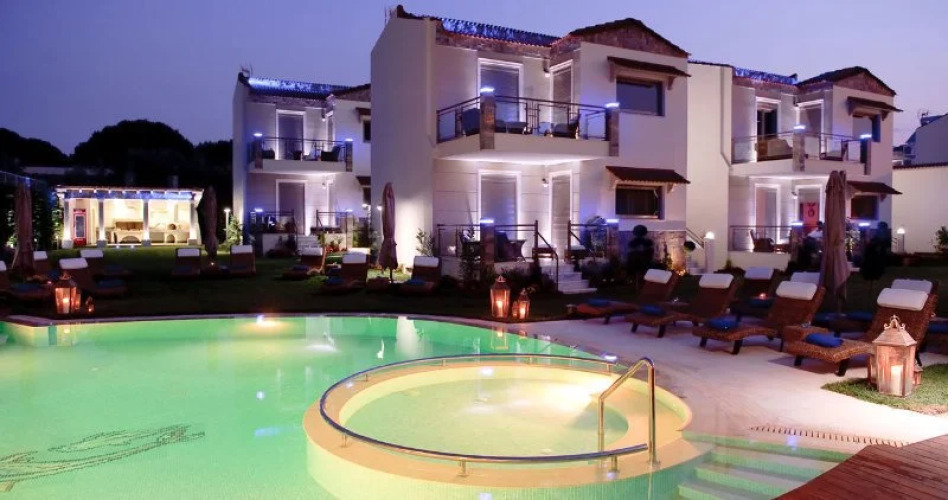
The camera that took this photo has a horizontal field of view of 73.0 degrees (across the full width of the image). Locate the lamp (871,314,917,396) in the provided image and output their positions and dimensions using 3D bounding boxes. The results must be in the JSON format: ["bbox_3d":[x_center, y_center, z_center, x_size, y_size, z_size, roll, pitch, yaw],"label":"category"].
[{"bbox_3d":[12.954,3.382,19.579,1.085,2.065,0.334,-1,4,6],"label":"lamp"}]

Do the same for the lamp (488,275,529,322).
[{"bbox_3d":[1.327,1.949,25.805,1.987,1.917,1.317,-1,0,-2],"label":"lamp"}]
